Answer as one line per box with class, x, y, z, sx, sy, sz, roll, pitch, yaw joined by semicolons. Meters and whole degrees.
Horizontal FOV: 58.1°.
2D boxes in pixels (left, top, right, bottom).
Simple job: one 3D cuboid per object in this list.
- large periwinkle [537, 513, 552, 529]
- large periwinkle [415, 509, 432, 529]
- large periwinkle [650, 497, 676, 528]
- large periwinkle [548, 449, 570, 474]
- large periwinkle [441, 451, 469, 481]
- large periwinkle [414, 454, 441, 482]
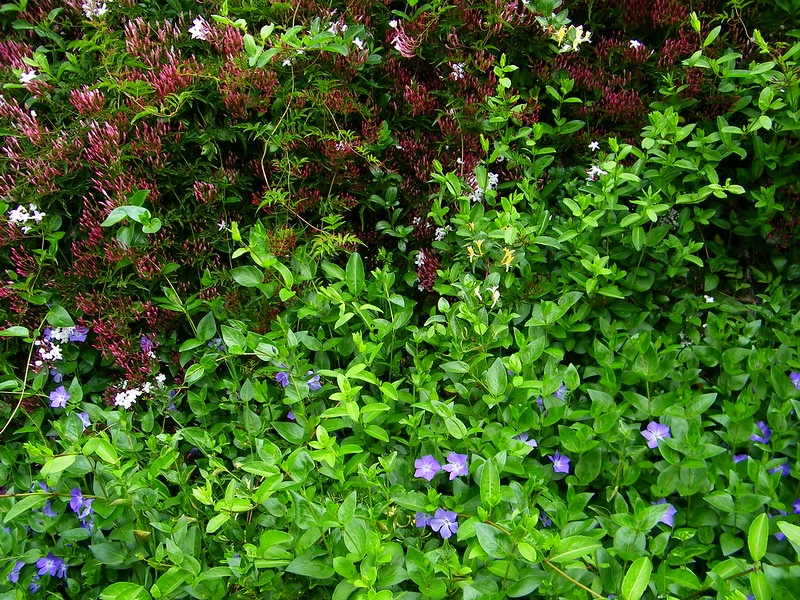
large periwinkle;0.601;0.904;2.987;0.041;0.062;0.068;-25;70;-5
large periwinkle;0.096;0.882;2.918;0.067;0.142;0.052;-3;68;4
large periwinkle;1.077;0.844;2.932;0.051;0.118;0.117;2;42;-21
large periwinkle;0.685;0.687;3.084;0.079;0.050;0.092;0;71;5
large periwinkle;0.231;0.675;2.956;0.101;0.143;0.113;-2;69;4
large periwinkle;0.119;0.696;3.016;0.107;0.110;0.101;7;70;7
